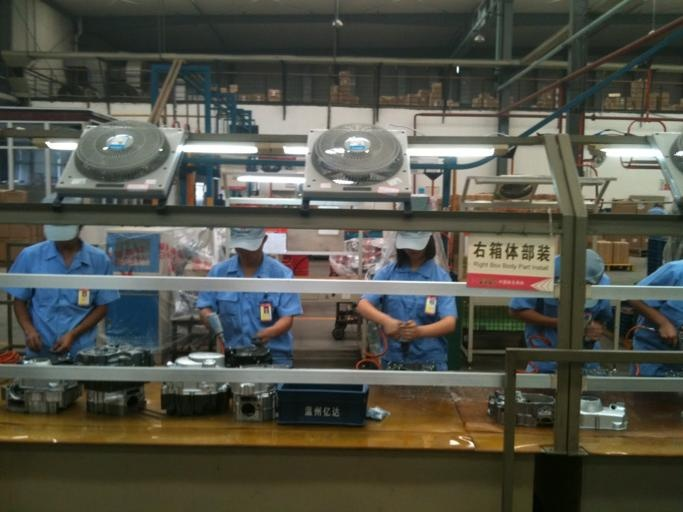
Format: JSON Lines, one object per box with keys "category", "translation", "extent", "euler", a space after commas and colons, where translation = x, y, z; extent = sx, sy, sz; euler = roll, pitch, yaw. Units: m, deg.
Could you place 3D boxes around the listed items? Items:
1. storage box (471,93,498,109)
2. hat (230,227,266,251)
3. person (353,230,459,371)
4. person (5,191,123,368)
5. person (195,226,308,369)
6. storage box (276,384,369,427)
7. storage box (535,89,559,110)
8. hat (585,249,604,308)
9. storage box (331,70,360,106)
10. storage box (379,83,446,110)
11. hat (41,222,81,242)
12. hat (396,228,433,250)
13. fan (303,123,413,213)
{"category": "storage box", "translation": [2.774, -2.978, 18.161], "extent": [0.555, 0.331, 0.357], "euler": [3, 3, 26]}
{"category": "hat", "translation": [-0.844, -0.150, 8.571], "extent": [0.301, 0.209, 0.298], "euler": [1, 3, -6]}
{"category": "person", "translation": [0.616, 0.410, 8.572], "extent": [0.853, 1.266, 0.696], "euler": [2, 3, 5]}
{"category": "person", "translation": [-2.525, 0.211, 8.575], "extent": [0.961, 1.426, 0.559], "euler": [1, 3, -10]}
{"category": "person", "translation": [-0.842, 0.346, 8.523], "extent": [0.953, 1.196, 0.710], "euler": [2, 3, 3]}
{"category": "storage box", "translation": [-0.155, 1.237, 7.928], "extent": [0.757, 0.260, 0.254], "euler": [2, 7, -1]}
{"category": "storage box", "translation": [3.905, -2.985, 17.968], "extent": [0.441, 0.393, 0.359], "euler": [2, 3, 20]}
{"category": "hat", "translation": [2.216, 0.208, 8.249], "extent": [0.145, 0.530, 0.704], "euler": [2, 3, 16]}
{"category": "storage box", "translation": [0.091, -3.311, 18.420], "extent": [0.538, 0.761, 0.866], "euler": [1, 3, 0]}
{"category": "storage box", "translation": [1.407, -3.142, 18.374], "extent": [1.186, 0.532, 0.376], "euler": [1, 3, -5]}
{"category": "hat", "translation": [-2.492, -0.198, 8.406], "extent": [0.286, 0.153, 0.482], "euler": [1, 3, -8]}
{"category": "hat", "translation": [0.662, -0.134, 8.579], "extent": [0.319, 0.174, 0.217], "euler": [2, 3, 5]}
{"category": "fan", "translation": [0.132, -0.748, 7.840], "extent": [0.779, 0.760, 0.287], "euler": [3, -12, -1]}
